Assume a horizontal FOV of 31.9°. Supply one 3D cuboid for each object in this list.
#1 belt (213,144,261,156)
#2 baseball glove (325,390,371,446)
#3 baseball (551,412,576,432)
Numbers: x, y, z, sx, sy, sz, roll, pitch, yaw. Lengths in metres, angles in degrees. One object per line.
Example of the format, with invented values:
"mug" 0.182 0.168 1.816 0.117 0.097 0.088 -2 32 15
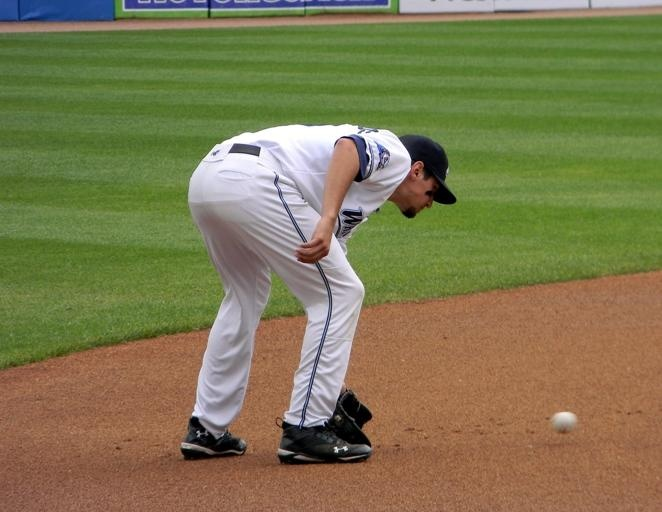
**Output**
"belt" -0.705 -0.865 9.445 0.220 0.052 0.111 -1 48 17
"baseball glove" 0.214 1.408 9.672 0.248 0.622 0.207 -8 37 34
"baseball" 1.981 1.396 9.862 0.170 0.109 0.175 -4 -5 -5
